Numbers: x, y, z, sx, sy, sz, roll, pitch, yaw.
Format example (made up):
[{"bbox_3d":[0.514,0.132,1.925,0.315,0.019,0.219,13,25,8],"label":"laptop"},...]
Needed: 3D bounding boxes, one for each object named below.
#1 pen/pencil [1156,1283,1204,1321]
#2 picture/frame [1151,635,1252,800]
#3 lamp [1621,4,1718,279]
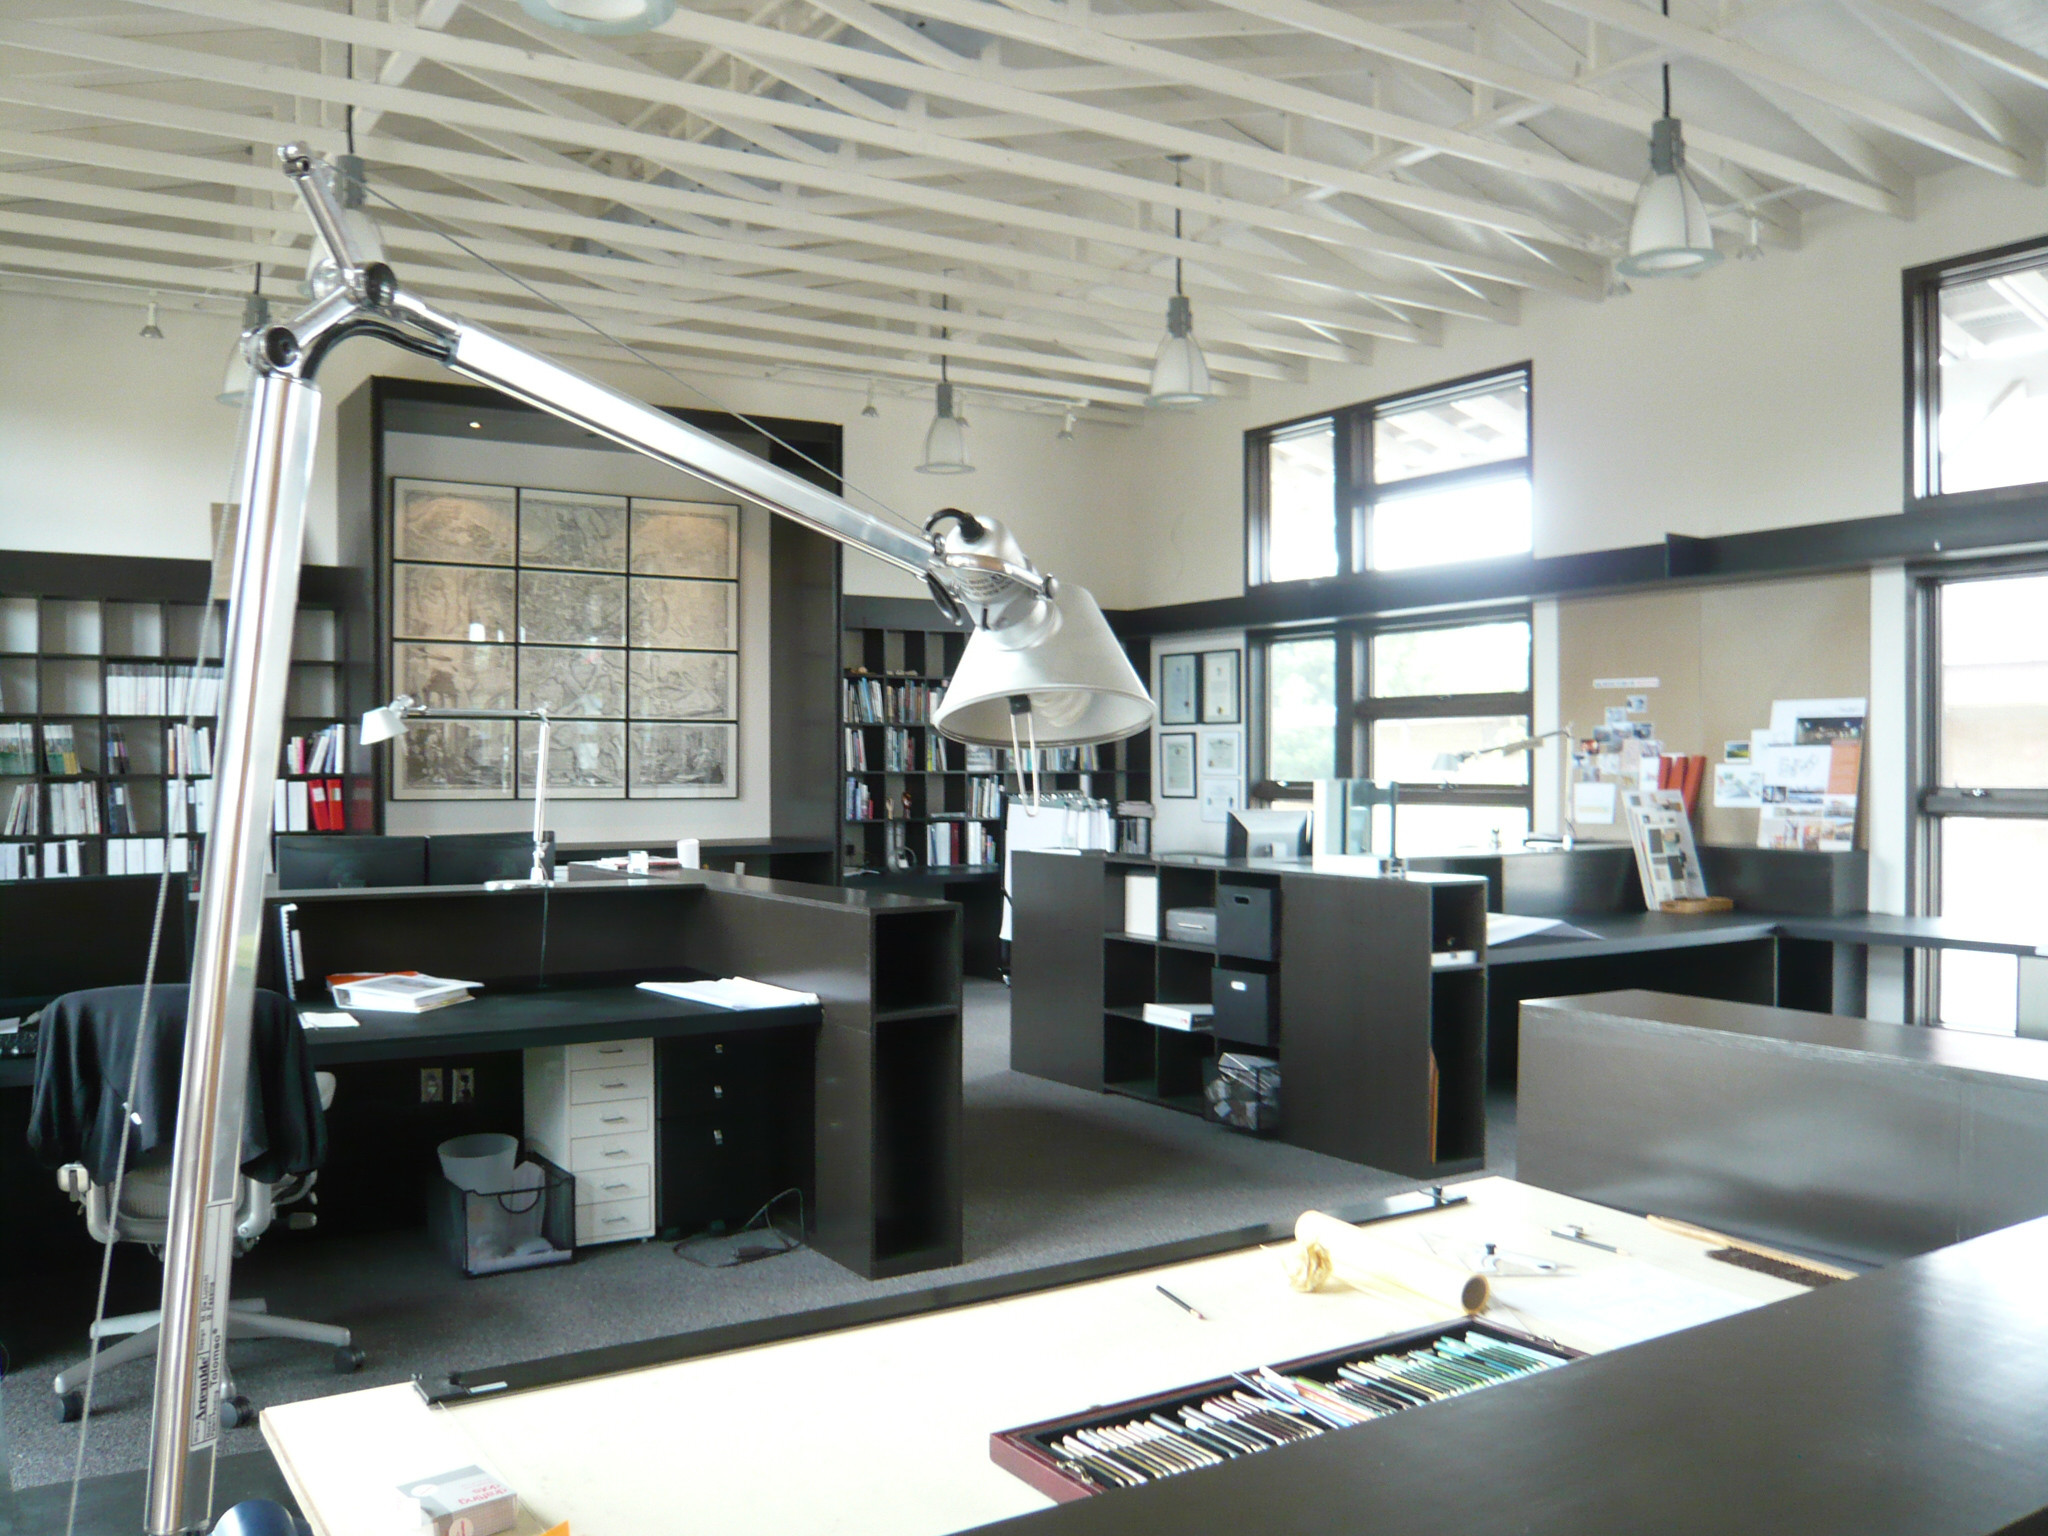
[{"bbox_3d":[0.223,0.759,2.277,0.020,0.014,0.097,11,4,-27],"label":"pen/pencil"},{"bbox_3d":[1.186,-0.336,10.447,0.058,1.570,1.060,-1,2,-33],"label":"picture/frame"},{"bbox_3d":[1.914,-1.721,4.786,0.262,0.473,0.320,1,2,42],"label":"lamp"}]
